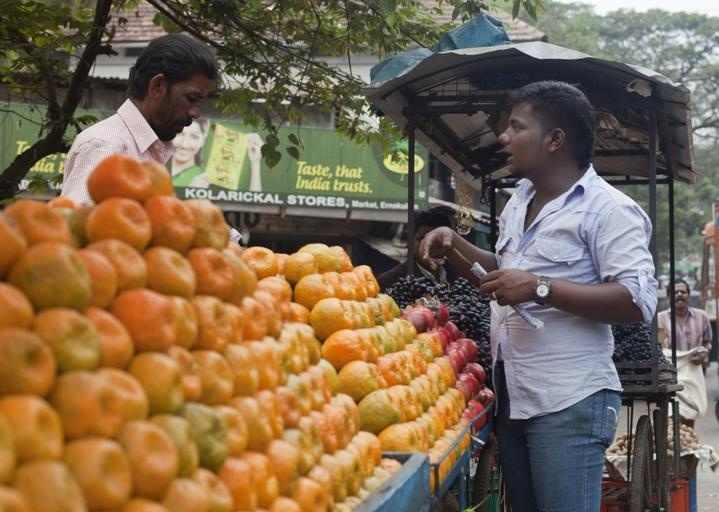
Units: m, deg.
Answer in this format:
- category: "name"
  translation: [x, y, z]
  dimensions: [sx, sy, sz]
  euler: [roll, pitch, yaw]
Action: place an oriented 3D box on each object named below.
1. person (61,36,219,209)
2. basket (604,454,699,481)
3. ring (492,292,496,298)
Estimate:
- category: "person"
  translation: [-1.366, -0.849, 6.199]
  dimensions: [0.709, 1.245, 1.208]
  euler: [18, 10, 8]
- category: "basket"
  translation: [2.852, 1.907, 8.819]
  dimensions: [0.415, 0.171, 0.455]
  euler: [0, -3, 8]
- category: "ring"
  translation: [0.808, 0.224, 5.827]
  dimensions: [0.012, 0.024, 0.019]
  euler: [-2, -14, -4]
